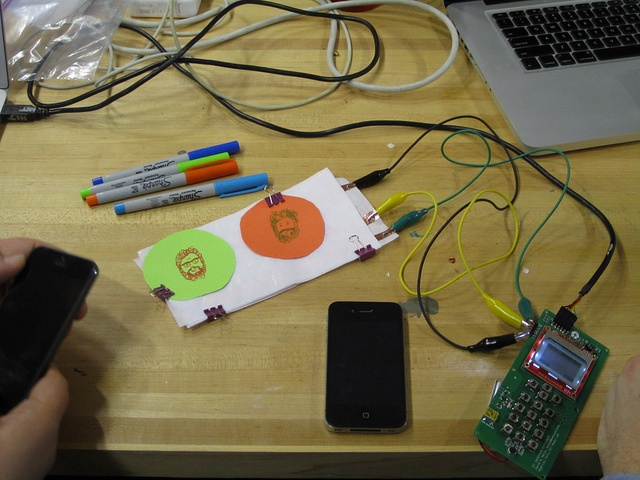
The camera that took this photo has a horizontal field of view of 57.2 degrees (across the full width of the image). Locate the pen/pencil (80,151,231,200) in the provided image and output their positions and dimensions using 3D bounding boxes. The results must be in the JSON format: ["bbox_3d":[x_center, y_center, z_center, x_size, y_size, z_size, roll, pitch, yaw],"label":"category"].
[{"bbox_3d":[-0.285,-0.110,1.034,0.228,0.023,0.025,-16,66,-10],"label":"pen/pencil"}]

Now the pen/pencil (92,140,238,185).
[{"bbox_3d":[-0.278,-0.136,1.050,0.201,0.021,0.018,-18,55,-13],"label":"pen/pencil"}]
